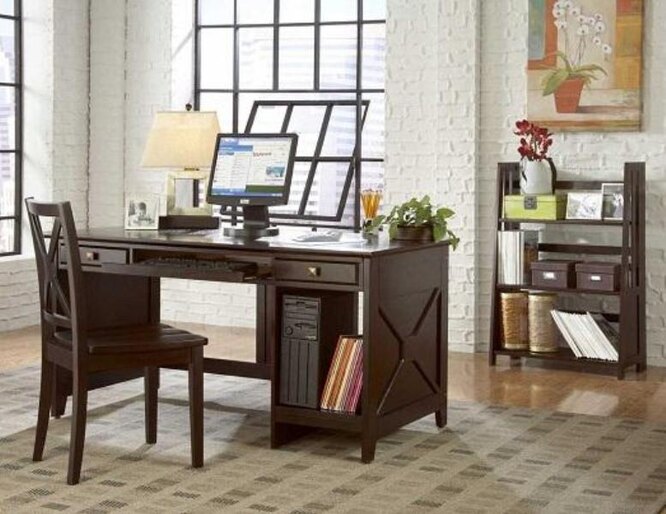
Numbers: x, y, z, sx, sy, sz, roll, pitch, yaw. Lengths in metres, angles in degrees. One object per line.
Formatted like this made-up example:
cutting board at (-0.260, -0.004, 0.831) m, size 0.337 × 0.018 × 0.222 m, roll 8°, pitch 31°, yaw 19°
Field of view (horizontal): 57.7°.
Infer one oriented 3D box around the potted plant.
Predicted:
potted plant at (0.357, -0.152, 2.686) m, size 0.415 × 0.126 × 0.331 m, roll 0°, pitch 3°, yaw 6°

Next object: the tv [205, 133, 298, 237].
tv at (-0.414, -0.352, 2.853) m, size 0.441 × 0.512 × 0.240 m, roll 2°, pitch 4°, yaw 38°

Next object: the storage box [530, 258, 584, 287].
storage box at (1.404, 0.103, 3.855) m, size 0.298 × 0.170 × 0.173 m, roll 1°, pitch 3°, yaw 21°

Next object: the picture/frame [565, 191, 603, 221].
picture/frame at (1.560, -0.315, 3.737) m, size 0.251 × 0.150 × 0.016 m, roll 6°, pitch 1°, yaw 29°

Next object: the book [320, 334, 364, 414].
book at (0.046, 0.466, 2.381) m, size 0.097 × 0.251 × 0.226 m, roll 5°, pitch 1°, yaw 11°

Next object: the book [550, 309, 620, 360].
book at (1.579, 0.492, 3.756) m, size 0.317 × 0.102 × 0.394 m, roll 4°, pitch 3°, yaw 32°

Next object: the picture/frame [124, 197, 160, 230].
picture/frame at (-0.967, -0.225, 3.046) m, size 0.018 × 0.162 × 0.200 m, roll 9°, pitch 8°, yaw 34°

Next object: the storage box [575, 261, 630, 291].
storage box at (1.650, 0.112, 3.698) m, size 0.238 × 0.105 × 0.220 m, roll 1°, pitch 2°, yaw 32°

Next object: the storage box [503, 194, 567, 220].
storage box at (1.277, -0.320, 3.854) m, size 0.331 × 0.105 × 0.230 m, roll 1°, pitch 3°, yaw 33°

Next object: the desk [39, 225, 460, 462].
desk at (-0.445, 0.347, 2.887) m, size 1.794 × 0.702 × 0.787 m, roll 3°, pitch -5°, yaw 24°
